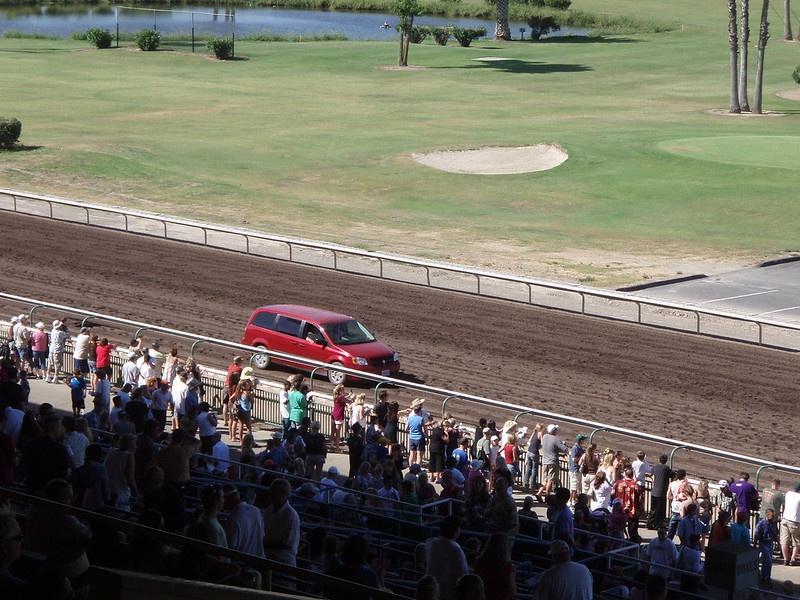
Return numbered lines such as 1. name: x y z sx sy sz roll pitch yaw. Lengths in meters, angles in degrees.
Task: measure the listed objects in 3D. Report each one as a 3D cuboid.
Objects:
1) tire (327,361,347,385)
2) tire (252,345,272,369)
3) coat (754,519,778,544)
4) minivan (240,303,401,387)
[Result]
1. tire: -2.062 2.425 59.347 1.084 0.784 0.351 0 -2 24
2. tire: -4.566 1.921 60.114 1.026 0.780 0.366 2 -2 40
3. coat: 10.707 6.806 53.300 1.043 0.680 0.444 1 -13 -2
4. minivan: -2.657 1.446 60.992 5.418 1.500 2.441 9 12 22
